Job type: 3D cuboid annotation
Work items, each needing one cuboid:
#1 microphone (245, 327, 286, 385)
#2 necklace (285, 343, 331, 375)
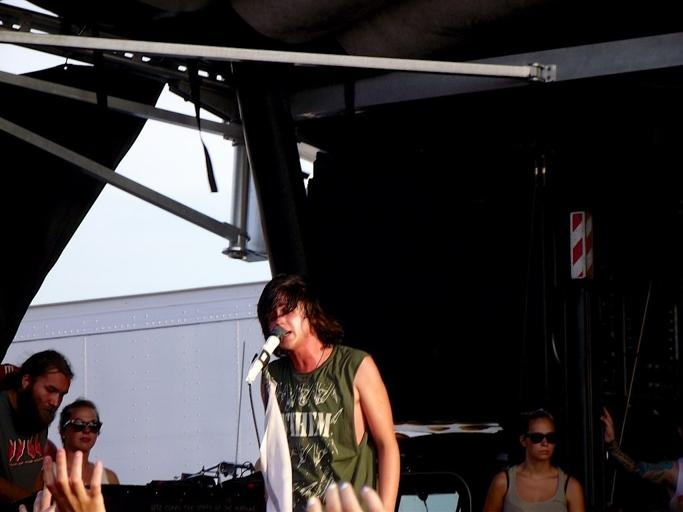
[{"bbox_3d":[-0.391,0.514,4.970,0.097,0.120,0.510,13,43,15],"label":"microphone"},{"bbox_3d":[-0.183,0.577,5.164,0.198,0.159,0.151,-38,3,4],"label":"necklace"}]
